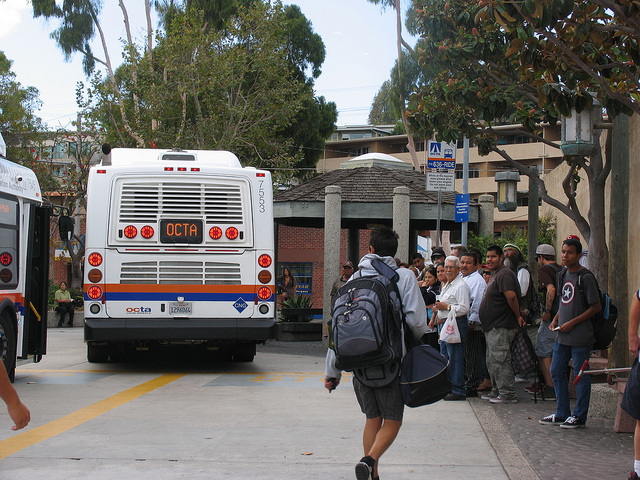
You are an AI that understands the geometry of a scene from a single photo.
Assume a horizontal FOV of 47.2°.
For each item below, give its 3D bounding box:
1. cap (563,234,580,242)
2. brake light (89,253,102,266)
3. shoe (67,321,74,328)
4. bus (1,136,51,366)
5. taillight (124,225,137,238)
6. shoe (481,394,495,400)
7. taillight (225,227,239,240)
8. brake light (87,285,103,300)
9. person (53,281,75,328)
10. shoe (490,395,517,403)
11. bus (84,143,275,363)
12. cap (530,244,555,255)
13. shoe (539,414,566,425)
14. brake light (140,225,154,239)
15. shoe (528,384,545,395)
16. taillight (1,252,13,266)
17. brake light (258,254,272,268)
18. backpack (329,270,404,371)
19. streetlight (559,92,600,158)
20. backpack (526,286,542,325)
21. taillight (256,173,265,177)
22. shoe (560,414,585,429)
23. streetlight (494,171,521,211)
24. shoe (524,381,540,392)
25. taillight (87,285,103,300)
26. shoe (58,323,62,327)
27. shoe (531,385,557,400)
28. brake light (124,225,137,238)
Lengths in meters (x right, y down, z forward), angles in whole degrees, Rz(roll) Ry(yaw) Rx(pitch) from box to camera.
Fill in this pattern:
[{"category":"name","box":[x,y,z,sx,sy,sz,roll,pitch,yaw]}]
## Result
[{"category":"cap","box":[4.010,-0.033,11.663,0.290,0.141,0.417,3,1,8]},{"category":"brake light","box":[-3.904,0.342,12.865,0.185,0.196,0.190,-4,10,2]},{"category":"shoe","box":[-8.952,3.044,26.425,0.192,0.214,0.386,0,-1,-19]},{"category":"bus","box":[-4.907,0.239,12.159,0.521,3.679,1.658,0,-1,-5]},{"category":"taillight","box":[-3.313,-0.153,12.869,0.214,0.221,0.039,0,-1,-13]},{"category":"shoe","box":[2.518,2.382,11.086,0.139,0.058,0.051,-5,-5,40]},{"category":"taillight","box":[-1.554,-0.115,12.994,0.198,0.212,0.031,0,-1,-10]},{"category":"brake light","box":[-3.897,0.912,12.627,0.206,0.217,0.097,5,-4,1]},{"category":"person","box":[-9.192,2.335,26.489,0.670,1.640,1.462,0,-1,-23]},{"category":"shoe","box":[2.680,2.319,10.686,0.360,0.151,0.132,4,-3,9]},{"category":"bus","box":[-2.596,0.200,15.045,2.420,2.546,4.757,0,-1,-3]},{"category":"cap","box":[3.393,0.147,11.055,0.214,0.144,0.302,-1,-1,11]},{"category":"shoe","box":[2.924,2.263,9.260,0.298,0.122,0.112,1,-6,21]},{"category":"brake light","box":[-3.037,-0.135,12.882,0.176,0.194,0.031,13,-3,5]},{"category":"shoe","box":[3.358,2.343,11.456,0.377,0.163,0.128,1,-2,-34]},{"category":"taillight","box":[-4.939,0.304,11.574,0.035,0.161,0.156,5,9,26]},{"category":"brake light","box":[-0.974,0.373,12.998,0.232,0.233,0.027,0,-1,-6]},{"category":"backpack","box":[0.445,0.778,6.818,0.661,0.849,0.356,0,-1,6]},{"category":"streetlight","box":[3.745,-1.697,10.602,0.518,0.935,0.527,4,-3,-21]},{"category":"backpack","box":[3.397,1.039,11.680,0.171,0.617,0.571,-1,-1,25]},{"category":"taillight","box":[-1.068,-1.170,13.196,0.145,0.072,0.040,0,-1,-4]},{"category":"shoe","box":[3.123,2.260,9.111,0.356,0.149,0.124,5,-9,-8]},{"category":"streetlight","box":[4.186,-1.126,16.397,0.474,0.916,0.891,-1,-1,13]},{"category":"shoe","box":[3.331,2.319,11.571,0.331,0.136,0.116,0,0,-4]},{"category":"taillight","box":[-3.898,0.914,12.674,0.220,0.231,0.104,7,-4,0]},{"category":"shoe","box":[-9.299,3.080,26.276,0.096,0.096,0.098,0,-4,25]},{"category":"shoe","box":[3.523,2.355,11.280,0.557,0.242,0.188,6,-8,-30]},{"category":"brake light","box":[-3.328,-0.141,12.864,0.201,0.212,0.029,3,-2,1]}]
